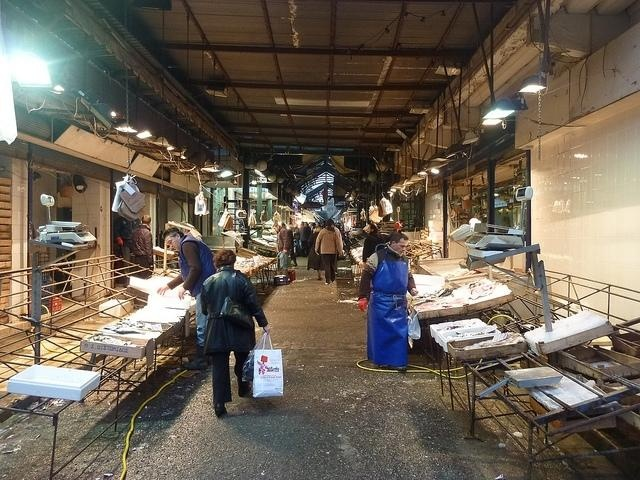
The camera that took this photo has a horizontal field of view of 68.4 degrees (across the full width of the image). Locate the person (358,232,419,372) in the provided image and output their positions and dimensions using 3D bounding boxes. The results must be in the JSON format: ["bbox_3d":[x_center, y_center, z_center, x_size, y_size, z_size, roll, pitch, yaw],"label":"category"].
[{"bbox_3d":[0.885,0.808,6.496,0.682,1.846,0.267,-3,0,8],"label":"person"}]

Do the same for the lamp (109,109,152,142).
[{"bbox_3d":[-2.948,-1.750,7.226,0.424,0.346,1.304,-3,-1,-3],"label":"lamp"}]

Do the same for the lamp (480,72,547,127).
[{"bbox_3d":[2.691,-1.903,6.508,0.542,0.371,0.930,1,-13,-43],"label":"lamp"}]

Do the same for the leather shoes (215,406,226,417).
[{"bbox_3d":[-1.109,1.891,5.238,0.112,0.082,0.110,-6,-11,4],"label":"leather shoes"}]

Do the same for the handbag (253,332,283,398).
[{"bbox_3d":[-0.622,1.459,5.464,0.351,0.743,0.372,-3,0,-11],"label":"handbag"}]

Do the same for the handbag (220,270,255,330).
[{"bbox_3d":[-0.966,0.832,5.451,0.382,0.577,0.172,-3,0,-20],"label":"handbag"}]
